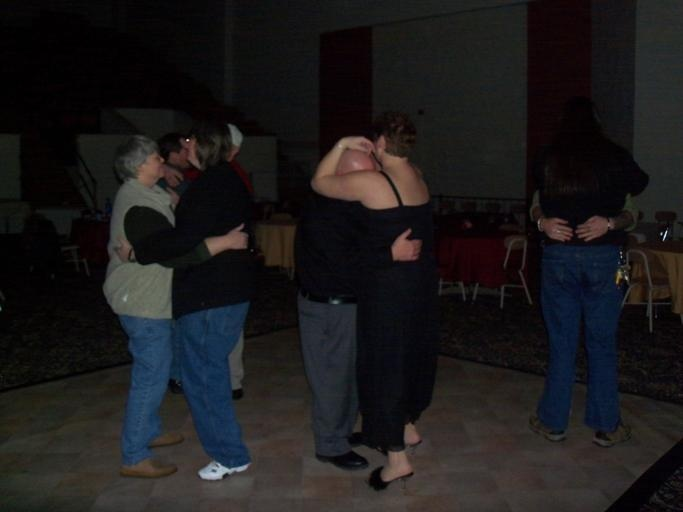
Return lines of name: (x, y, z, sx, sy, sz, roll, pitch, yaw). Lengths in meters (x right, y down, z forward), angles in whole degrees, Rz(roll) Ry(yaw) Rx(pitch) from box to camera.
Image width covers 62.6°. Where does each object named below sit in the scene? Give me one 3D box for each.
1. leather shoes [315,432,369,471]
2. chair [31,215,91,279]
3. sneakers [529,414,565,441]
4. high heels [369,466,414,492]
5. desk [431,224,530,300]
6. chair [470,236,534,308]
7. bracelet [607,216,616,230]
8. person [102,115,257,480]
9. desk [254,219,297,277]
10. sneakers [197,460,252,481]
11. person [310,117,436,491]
leather shoes: (-0.032, 1.115, 3.274, 0.412, 0.280, 0.150, 0, -1, -5)
chair: (-4.281, -0.106, 8.622, 0.722, 1.103, 0.694, -8, 21, -14)
sneakers: (1.306, 1.068, 3.569, 0.090, 0.091, 0.209, -10, 24, -30)
high heels: (0.258, 1.224, 3.102, 0.163, 0.071, 0.122, -8, 0, 0)
desk: (1.946, 0.117, 7.358, 1.154, 0.920, 1.162, 6, 12, 29)
chair: (1.929, 0.238, 7.155, 0.633, 0.885, 0.591, 6, 7, 20)
bracelet: (1.578, -0.185, 3.275, 0.059, 0.060, 0.014, -54, 14, -19)
person: (-0.874, 0.269, 3.032, 0.788, 1.915, 0.349, -2, 11, -8)
desk: (-1.018, -0.105, 8.288, 0.811, 0.745, 0.809, 1, -1, 5)
sneakers: (-0.650, 1.172, 3.177, 0.304, 0.137, 0.111, 1, 2, -17)
person: (0.193, 0.146, 2.997, 0.647, 1.773, 0.340, 2, 11, 9)
